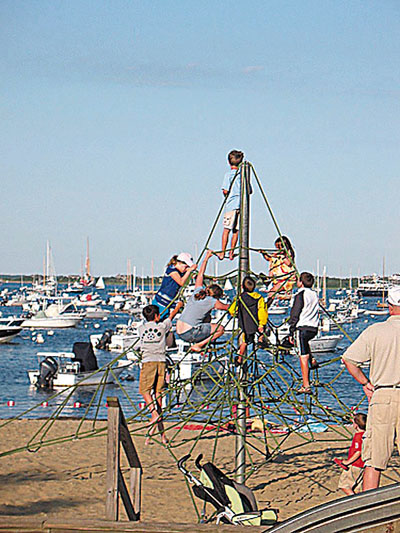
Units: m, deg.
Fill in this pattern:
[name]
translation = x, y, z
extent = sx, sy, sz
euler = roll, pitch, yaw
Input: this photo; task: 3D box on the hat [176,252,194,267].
[hat]
translation = -0.195, -0.070, 10.627
extent = 0.269, 0.128, 0.166
euler = 27, 10, 3
